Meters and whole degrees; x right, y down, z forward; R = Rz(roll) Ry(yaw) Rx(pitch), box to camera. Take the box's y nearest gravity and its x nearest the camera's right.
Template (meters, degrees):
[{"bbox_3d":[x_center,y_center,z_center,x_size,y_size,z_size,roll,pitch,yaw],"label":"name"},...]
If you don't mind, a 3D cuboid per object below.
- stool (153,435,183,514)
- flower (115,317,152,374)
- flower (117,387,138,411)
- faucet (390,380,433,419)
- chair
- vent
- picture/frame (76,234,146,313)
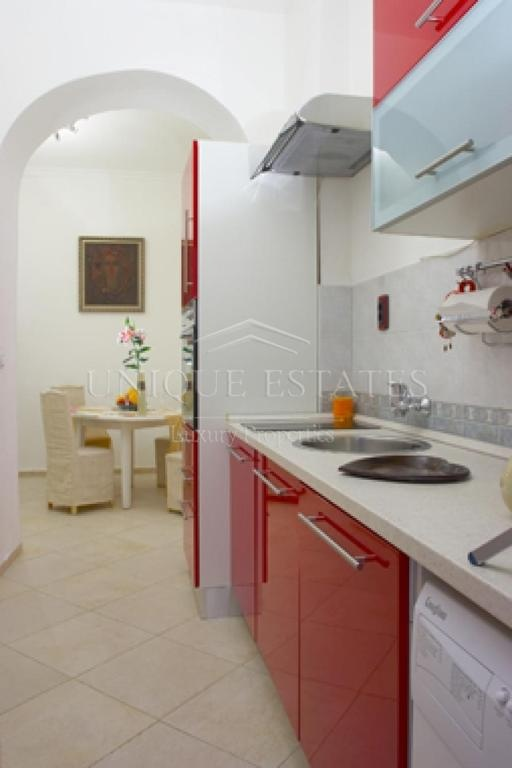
[{"bbox_3d":[-0.690,0.731,4.251,0.331,0.449,0.654,2,0,-4],"label":"stool"},{"bbox_3d":[-1.126,-0.387,5.025,0.304,0.550,0.896,0,0,-13],"label":"flower"},{"bbox_3d":[-1.076,0.133,4.525,0.155,0.174,0.223,1,3,-14],"label":"flower"},{"bbox_3d":[0.538,0.066,1.813,0.080,0.137,0.133,1,2,-36],"label":"faucet"},{"bbox_3d":[-1.421,0.525,4.303,0.532,0.935,0.782,0,0,-19],"label":"chair"},{"bbox_3d":[0.265,-0.945,2.121,0.419,0.155,0.612,2,6,-11],"label":"vent"},{"bbox_3d":[-1.477,-1.127,5.355,0.673,0.891,0.061,0,0,-5],"label":"picture/frame"}]
